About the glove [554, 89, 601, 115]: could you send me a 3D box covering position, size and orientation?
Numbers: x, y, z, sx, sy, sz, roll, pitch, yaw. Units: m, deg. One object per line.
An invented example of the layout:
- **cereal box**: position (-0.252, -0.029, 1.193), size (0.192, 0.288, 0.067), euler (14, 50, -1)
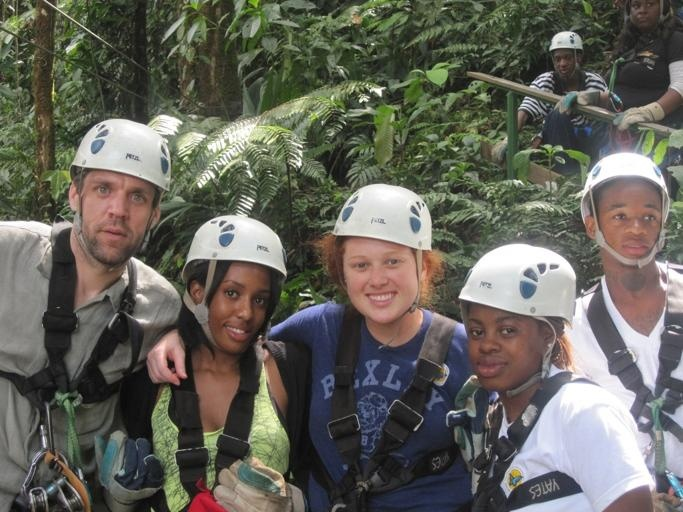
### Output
- **glove**: position (3.119, -2.063, 11.473), size (0.318, 0.136, 0.432), euler (4, 33, 44)

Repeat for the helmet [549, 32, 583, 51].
- **helmet**: position (3.286, -3.191, 12.935), size (0.346, 0.309, 0.493), euler (10, 29, 23)

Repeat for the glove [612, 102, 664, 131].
- **glove**: position (3.576, -1.713, 10.548), size (0.503, 0.195, 0.319), euler (-29, 23, -23)
